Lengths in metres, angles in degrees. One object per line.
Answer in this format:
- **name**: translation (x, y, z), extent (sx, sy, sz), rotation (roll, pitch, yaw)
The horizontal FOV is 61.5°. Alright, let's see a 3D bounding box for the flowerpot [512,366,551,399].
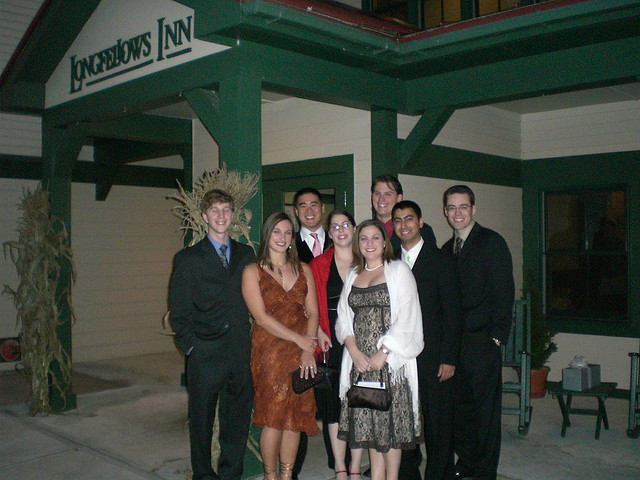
- **flowerpot**: translation (3.327, 2.179, 8.096), extent (0.632, 0.450, 0.656), rotation (6, -17, 8)

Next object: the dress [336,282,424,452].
- **dress**: translation (0.484, 1.038, 4.411), extent (0.694, 1.249, 0.323), rotation (0, 0, 1)

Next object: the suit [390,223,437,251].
- **suit**: translation (0.922, -0.052, 5.297), extent (0.451, 0.452, 0.250), rotation (0, 2, 38)

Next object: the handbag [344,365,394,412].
- **handbag**: translation (0.388, 1.174, 4.332), extent (0.373, 0.436, 0.157), rotation (3, -8, 12)

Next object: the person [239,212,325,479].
- **person**: translation (-0.364, 0.993, 4.773), extent (0.720, 2.286, 0.498), rotation (0, 0, -2)

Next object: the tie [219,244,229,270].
- **tie**: translation (-0.864, 0.155, 4.804), extent (0.055, 0.214, 0.060), rotation (1, -17, -21)

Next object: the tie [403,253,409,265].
- **tie**: translation (0.750, 0.164, 4.731), extent (0.056, 0.075, 0.020), rotation (1, -6, -32)
